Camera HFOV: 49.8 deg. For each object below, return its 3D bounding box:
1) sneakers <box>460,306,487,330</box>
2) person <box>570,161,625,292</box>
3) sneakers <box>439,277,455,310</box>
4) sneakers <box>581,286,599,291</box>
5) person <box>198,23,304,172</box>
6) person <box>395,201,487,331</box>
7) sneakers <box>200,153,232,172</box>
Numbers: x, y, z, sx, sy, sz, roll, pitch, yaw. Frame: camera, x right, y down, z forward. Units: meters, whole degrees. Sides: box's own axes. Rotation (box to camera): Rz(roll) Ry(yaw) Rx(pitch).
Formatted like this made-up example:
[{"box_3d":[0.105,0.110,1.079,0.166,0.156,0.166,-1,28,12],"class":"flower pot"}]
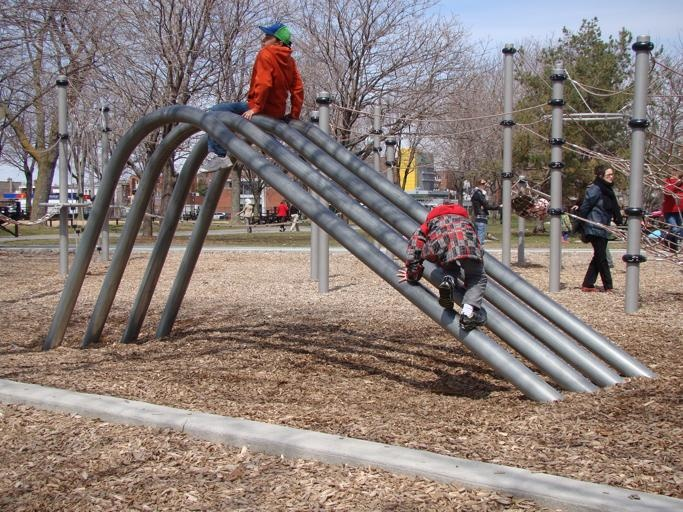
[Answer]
[{"box_3d":[0.958,0.457,5.371,0.258,0.106,0.112,-13,18,-40],"class":"sneakers"},{"box_3d":[3.553,-0.409,10.107,0.614,1.731,1.328,4,4,18],"class":"person"},{"box_3d":[0.773,0.284,5.430,0.122,0.230,0.112,3,32,19],"class":"sneakers"},{"box_3d":[3.304,0.445,9.779,0.202,0.072,0.067,-1,0,20],"class":"sneakers"},{"box_3d":[-0.764,-1.509,6.757,0.798,1.482,1.178,3,4,-3],"class":"person"},{"box_3d":[0.806,0.012,5.674,0.716,0.657,1.016,-9,34,-6],"class":"person"},{"box_3d":[-1.090,-0.816,6.473,0.269,0.150,0.516,2,4,-10],"class":"sneakers"}]
